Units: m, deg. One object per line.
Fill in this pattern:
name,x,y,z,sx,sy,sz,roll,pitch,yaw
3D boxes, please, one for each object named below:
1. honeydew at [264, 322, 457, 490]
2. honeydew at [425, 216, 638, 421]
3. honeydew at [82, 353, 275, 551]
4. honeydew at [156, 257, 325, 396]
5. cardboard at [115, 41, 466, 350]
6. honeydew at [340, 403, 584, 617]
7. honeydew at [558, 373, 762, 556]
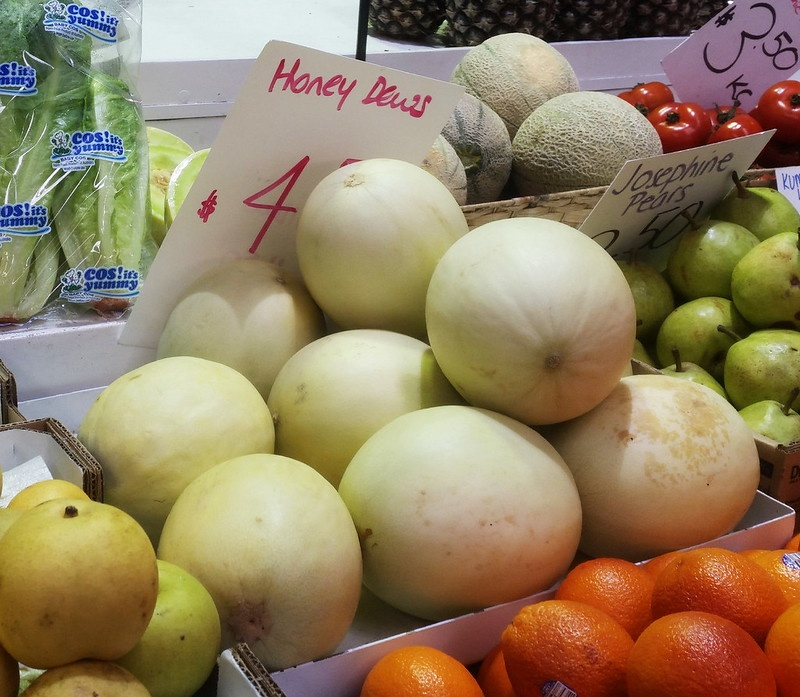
honeydew,-0.051,0.088,0.979,0.268,0.222,0.202,-1,8,-28
honeydew,0.154,-0.036,0.846,0.247,0.161,0.202,31,55,14
honeydew,-0.258,0.099,0.932,0.181,0.191,0.238,14,28,43
honeydew,-0.224,-0.029,1.116,0.239,0.195,0.208,-21,72,-12
cardboard,-0.185,-0.266,1.196,0.418,0.567,0.015,-12,64,-39
honeydew,0.070,0.190,0.845,0.293,0.239,0.234,-2,15,-13
honeydew,0.347,0.143,0.943,0.246,0.202,0.236,19,2,41
